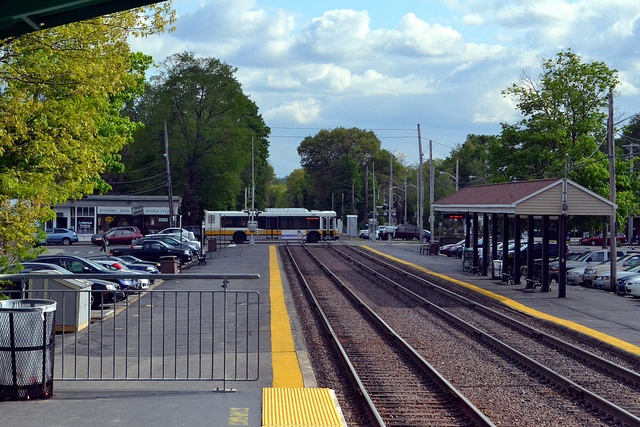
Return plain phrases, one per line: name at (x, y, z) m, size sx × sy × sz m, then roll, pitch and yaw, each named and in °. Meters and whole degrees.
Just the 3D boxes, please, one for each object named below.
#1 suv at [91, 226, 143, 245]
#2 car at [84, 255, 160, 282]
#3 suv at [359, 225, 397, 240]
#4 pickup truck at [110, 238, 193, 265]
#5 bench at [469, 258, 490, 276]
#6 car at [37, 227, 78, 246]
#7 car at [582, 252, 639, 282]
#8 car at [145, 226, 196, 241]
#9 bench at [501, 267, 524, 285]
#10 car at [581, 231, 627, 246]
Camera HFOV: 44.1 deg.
suv at (-15.352, 1.782, 60.041) m, size 3.555 × 1.040 × 1.627 m, roll 1°, pitch 0°, yaw -12°
car at (-8.594, 2.654, 34.487) m, size 3.395 × 1.074 × 1.482 m, roll -1°, pitch 2°, yaw -9°
suv at (6.199, 1.928, 78.533) m, size 2.801 × 1.125 × 1.506 m, roll 2°, pitch -1°, yaw -3°
pickup truck at (-9.023, 2.048, 42.653) m, size 4.174 × 1.270 × 1.809 m, roll -1°, pitch -1°, yaw -3°
bench at (8.198, 2.858, 40.886) m, size 0.805 × 0.814 × 1.441 m, roll -1°, pitch -6°, yaw 0°
car at (-16.856, 1.576, 51.090) m, size 2.695 × 1.079 × 1.295 m, roll 3°, pitch -2°, yaw -8°
car at (13.562, 2.541, 36.542) m, size 2.668 × 0.981 × 1.288 m, roll -1°, pitch -4°, yaw -7°
car at (-10.876, 1.508, 57.295) m, size 2.543 × 0.807 × 1.117 m, roll 2°, pitch -1°, yaw -1°
bench at (9.189, 3.101, 37.740) m, size 1.473 × 0.898 × 0.586 m, roll 2°, pitch -3°, yaw -42°
car at (23.030, 2.091, 64.123) m, size 2.915 × 0.930 × 1.284 m, roll 2°, pitch 0°, yaw 0°
